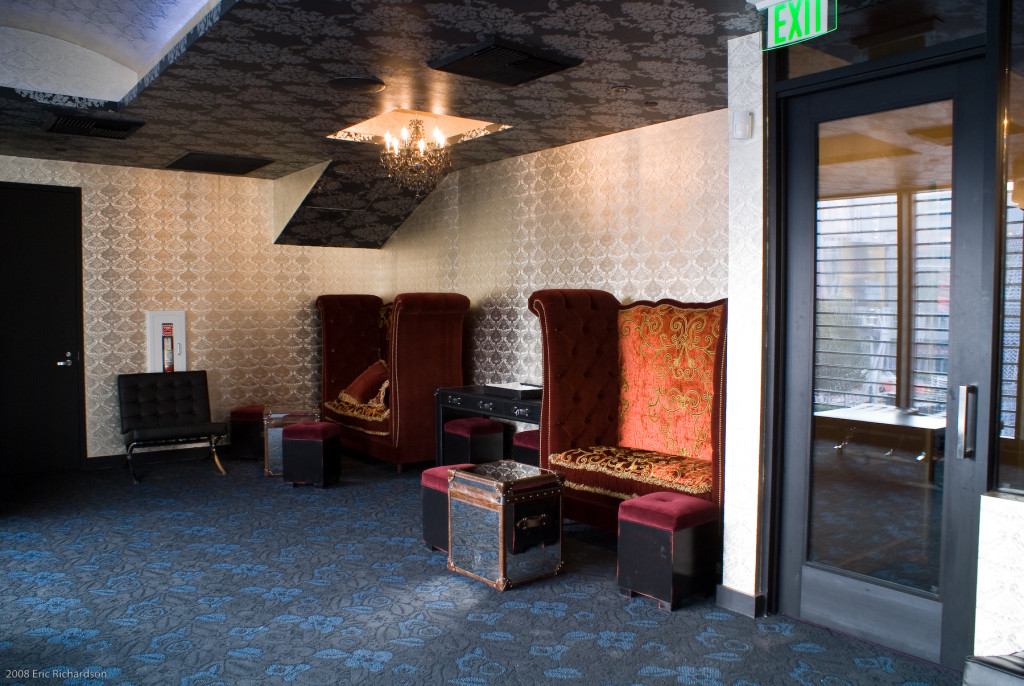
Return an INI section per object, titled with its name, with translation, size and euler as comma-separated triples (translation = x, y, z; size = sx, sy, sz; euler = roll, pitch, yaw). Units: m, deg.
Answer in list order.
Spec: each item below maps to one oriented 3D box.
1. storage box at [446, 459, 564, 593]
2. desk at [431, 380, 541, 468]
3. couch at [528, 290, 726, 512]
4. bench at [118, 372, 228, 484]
[storage box]
translation = -0.134, 1.334, 5.254
size = 0.888, 0.792, 0.847
euler = -2, 3, -33
[desk]
translation = -0.085, 0.899, 6.675
size = 1.459, 0.822, 0.535
euler = 2, 1, 44
[couch]
translation = 0.951, 0.488, 5.549
size = 1.169, 1.779, 2.070
euler = 1, 0, -39
[bench]
translation = -3.849, 0.884, 7.699
size = 0.728, 0.969, 1.013
euler = 9, 6, 40
